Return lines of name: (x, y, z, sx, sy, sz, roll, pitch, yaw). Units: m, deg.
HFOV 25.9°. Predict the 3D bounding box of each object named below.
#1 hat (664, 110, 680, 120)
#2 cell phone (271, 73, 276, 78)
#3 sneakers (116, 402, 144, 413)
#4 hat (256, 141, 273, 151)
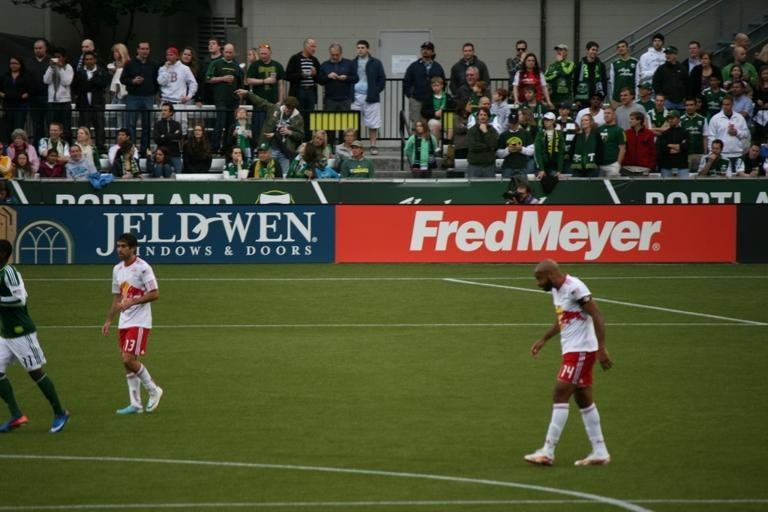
hat: (8.299, -4.100, 48.022, 0.267, 0.224, 0.439, -6, -10, 42)
cell phone: (-3.293, -5.361, 49.655, 0.112, 0.100, 0.110, 1, 0, -30)
sneakers: (-5.537, 3.257, 36.306, 0.447, 0.173, 0.230, 2, -3, 3)
hat: (-3.437, -3.182, 48.131, 0.359, 0.158, 0.502, 1, 2, 2)
